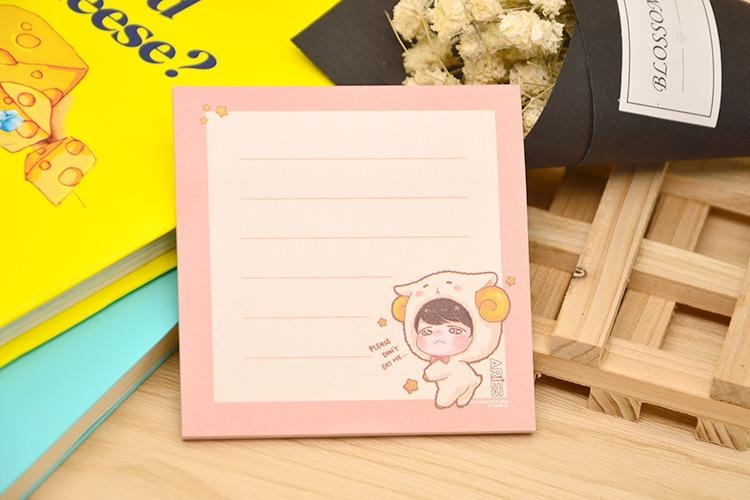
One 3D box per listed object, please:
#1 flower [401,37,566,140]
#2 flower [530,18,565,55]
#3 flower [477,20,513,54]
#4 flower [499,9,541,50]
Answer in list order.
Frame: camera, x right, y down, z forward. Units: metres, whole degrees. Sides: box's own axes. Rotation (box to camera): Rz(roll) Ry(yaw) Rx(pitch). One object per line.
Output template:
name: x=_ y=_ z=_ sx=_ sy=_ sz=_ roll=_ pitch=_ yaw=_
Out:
flower: x=0.141 y=-0.207 z=0.754 sx=0.179 sy=0.067 sz=0.134 roll=0 pitch=49 yaw=7
flower: x=0.212 y=-0.263 z=0.718 sx=0.048 sy=0.015 sz=0.038 roll=-30 pitch=24 yaw=17
flower: x=0.146 y=-0.260 z=0.726 sx=0.034 sy=0.034 sz=0.016 roll=-10 pitch=6 yaw=10
flower: x=0.176 y=-0.262 z=0.707 sx=0.053 sy=0.043 sz=0.027 roll=2 pitch=32 yaw=7
